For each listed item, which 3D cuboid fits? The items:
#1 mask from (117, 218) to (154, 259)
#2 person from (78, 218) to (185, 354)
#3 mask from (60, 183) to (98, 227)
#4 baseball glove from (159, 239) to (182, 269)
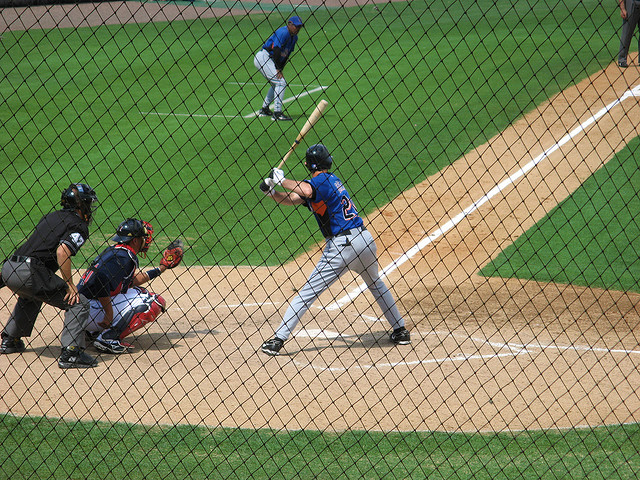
[{"bbox_3d":[-2.236,-0.036,13.015,0.400,0.505,0.526,19,14,42],"label":"mask"},{"bbox_3d":[-2.273,0.570,13.269,1.040,1.531,1.234,6,4,36],"label":"person"},{"bbox_3d":[-2.812,-0.421,12.884,0.442,0.472,0.364,6,-1,-26],"label":"mask"},{"bbox_3d":[-1.739,0.169,13.086,0.195,0.158,0.377,8,42,17],"label":"baseball glove"}]
